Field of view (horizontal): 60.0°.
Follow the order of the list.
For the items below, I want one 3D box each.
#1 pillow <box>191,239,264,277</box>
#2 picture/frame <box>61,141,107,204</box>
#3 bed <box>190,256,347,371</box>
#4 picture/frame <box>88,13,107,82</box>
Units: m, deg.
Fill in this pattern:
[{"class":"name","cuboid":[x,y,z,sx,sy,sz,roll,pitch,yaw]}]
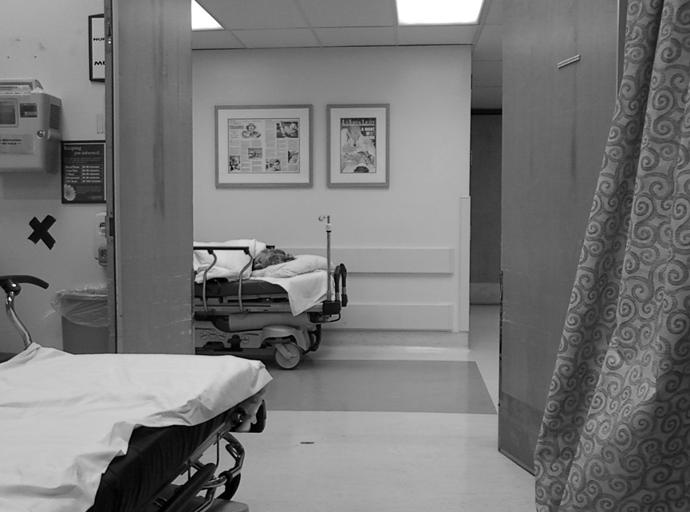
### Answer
[{"class":"pillow","cuboid":[-1.064,0.039,5.142,0.417,0.117,0.407,-6,21,-2]},{"class":"picture/frame","cuboid":[-1.481,-0.481,3.367,0.330,0.467,0.031,-1,-1,-4]},{"class":"bed","cuboid":[-0.642,0.455,5.007,1.117,0.628,0.815,-1,3,4]},{"class":"picture/frame","cuboid":[-1.358,-1.139,3.280,0.057,0.367,0.164,-5,8,-44]}]
